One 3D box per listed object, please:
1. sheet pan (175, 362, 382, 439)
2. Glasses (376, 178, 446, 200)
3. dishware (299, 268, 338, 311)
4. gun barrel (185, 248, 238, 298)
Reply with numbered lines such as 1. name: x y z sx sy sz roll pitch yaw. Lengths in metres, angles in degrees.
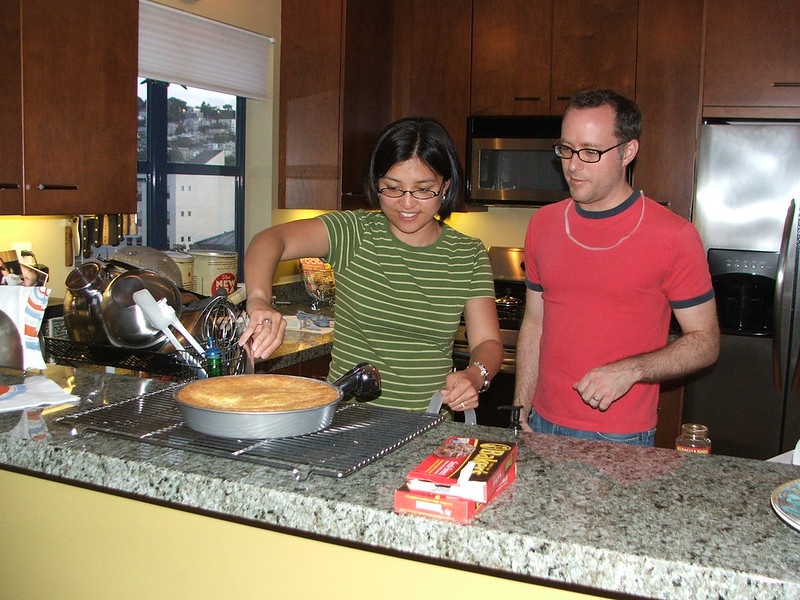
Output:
1. sheet pan: -0.231 0.220 1.420 0.522 0.108 0.321 -1 7 -45
2. Glasses: 0.028 -0.301 1.751 0.174 0.047 0.066 0 7 3
3. dishware: -0.527 -0.098 3.882 0.280 0.279 0.262 -7 12 -33
4. gun barrel: -1.005 -0.128 3.374 0.257 0.274 0.257 6 9 16
